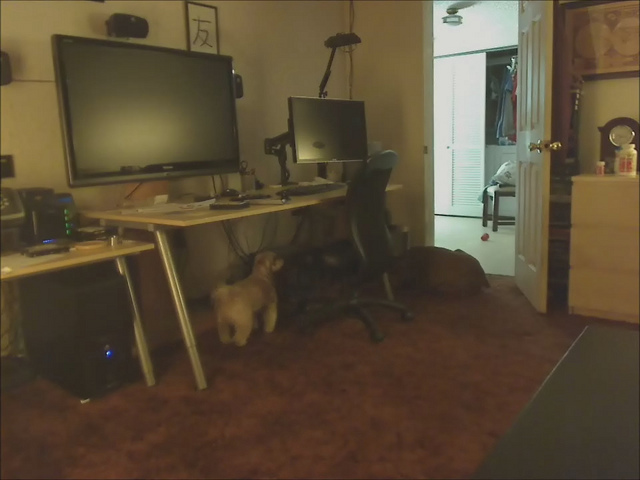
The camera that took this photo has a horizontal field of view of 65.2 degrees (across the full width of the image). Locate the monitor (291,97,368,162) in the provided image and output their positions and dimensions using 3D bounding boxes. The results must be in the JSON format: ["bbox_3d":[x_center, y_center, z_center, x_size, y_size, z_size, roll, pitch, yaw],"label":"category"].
[{"bbox_3d":[0.079,-0.682,3.107,0.072,0.384,0.655,9,16,43],"label":"monitor"}]

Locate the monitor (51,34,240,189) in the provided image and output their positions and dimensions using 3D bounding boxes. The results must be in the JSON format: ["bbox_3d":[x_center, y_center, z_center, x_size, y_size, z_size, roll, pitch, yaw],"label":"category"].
[{"bbox_3d":[-0.873,-0.630,2.455,0.072,0.556,0.835,3,12,38],"label":"monitor"}]

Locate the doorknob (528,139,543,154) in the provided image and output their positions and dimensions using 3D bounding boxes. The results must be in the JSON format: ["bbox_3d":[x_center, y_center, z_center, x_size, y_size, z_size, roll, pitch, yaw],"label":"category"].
[{"bbox_3d":[1.181,-0.510,2.744,0.070,0.075,0.019,-1,-2,26],"label":"doorknob"}]

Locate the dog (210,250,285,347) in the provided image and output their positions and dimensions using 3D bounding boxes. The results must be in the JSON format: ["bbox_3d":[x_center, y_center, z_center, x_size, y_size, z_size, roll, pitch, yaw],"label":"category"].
[{"bbox_3d":[-0.338,0.272,2.548,0.215,0.397,0.477,3,14,34],"label":"dog"}]

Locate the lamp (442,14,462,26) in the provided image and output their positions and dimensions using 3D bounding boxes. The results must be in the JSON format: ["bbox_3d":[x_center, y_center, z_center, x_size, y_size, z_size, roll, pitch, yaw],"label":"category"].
[{"bbox_3d":[1.540,-2.540,5.762,0.248,0.115,0.202,-2,12,0],"label":"lamp"}]

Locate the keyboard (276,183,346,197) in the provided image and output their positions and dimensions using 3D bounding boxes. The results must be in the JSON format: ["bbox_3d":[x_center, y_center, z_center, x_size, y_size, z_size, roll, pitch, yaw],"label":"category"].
[{"bbox_3d":[-0.049,-0.299,2.928,0.274,0.038,0.562,3,13,21],"label":"keyboard"}]

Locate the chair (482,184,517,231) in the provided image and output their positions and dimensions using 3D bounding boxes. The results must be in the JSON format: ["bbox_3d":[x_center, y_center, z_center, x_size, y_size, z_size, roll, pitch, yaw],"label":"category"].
[{"bbox_3d":[1.976,-0.382,5.553,0.339,0.495,0.734,3,12,21],"label":"chair"}]

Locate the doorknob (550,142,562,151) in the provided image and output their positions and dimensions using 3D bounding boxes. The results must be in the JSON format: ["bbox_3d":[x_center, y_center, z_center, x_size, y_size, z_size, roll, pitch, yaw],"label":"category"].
[{"bbox_3d":[1.269,-0.505,2.677,0.042,0.036,0.100,10,16,44],"label":"doorknob"}]

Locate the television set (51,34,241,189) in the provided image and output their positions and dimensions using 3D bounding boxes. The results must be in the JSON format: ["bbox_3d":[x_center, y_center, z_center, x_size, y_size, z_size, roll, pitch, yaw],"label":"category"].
[{"bbox_3d":[-0.872,-0.631,2.457,0.071,0.579,0.832,3,13,39],"label":"television set"}]
